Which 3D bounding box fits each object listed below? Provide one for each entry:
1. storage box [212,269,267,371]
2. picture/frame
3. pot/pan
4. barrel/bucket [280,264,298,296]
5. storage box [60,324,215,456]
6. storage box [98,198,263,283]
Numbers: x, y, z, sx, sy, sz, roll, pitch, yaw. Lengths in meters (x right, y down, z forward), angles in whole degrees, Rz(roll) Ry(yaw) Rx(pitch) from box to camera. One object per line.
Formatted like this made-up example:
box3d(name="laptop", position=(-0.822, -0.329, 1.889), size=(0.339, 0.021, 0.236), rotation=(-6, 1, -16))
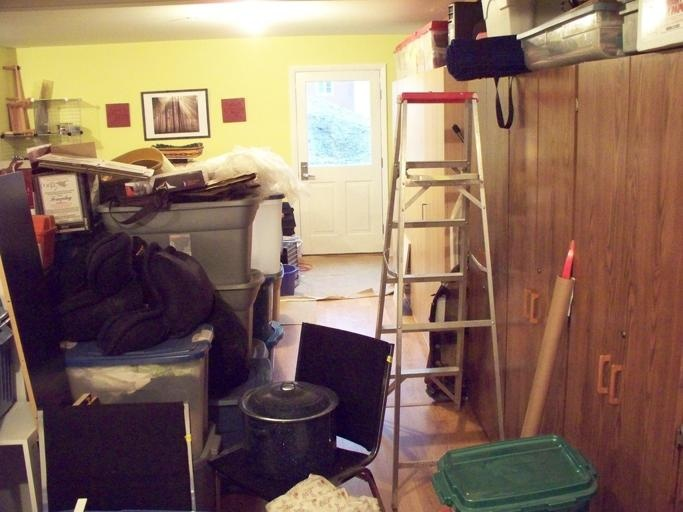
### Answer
box3d(name="storage box", position=(-0.495, 0.330, 2.979), size=(0.368, 0.422, 0.387), rotation=(-2, 11, -5))
box3d(name="picture/frame", position=(-1.898, -1.665, 6.526), size=(0.531, 0.402, 0.021), rotation=(-2, 8, -2))
box3d(name="pot/pan", position=(-0.181, 0.645, 2.048), size=(0.321, 0.277, 0.322), rotation=(-2, 10, -9))
box3d(name="barrel/bucket", position=(-0.439, 0.215, 5.208), size=(0.230, 0.252, 0.235), rotation=(0, 10, 0))
box3d(name="storage box", position=(-0.795, 0.496, 2.416), size=(0.518, 0.560, 0.467), rotation=(-2, 1, -1))
box3d(name="storage box", position=(-0.810, -0.100, 2.863), size=(0.632, 0.387, 0.449), rotation=(0, 6, -5))
